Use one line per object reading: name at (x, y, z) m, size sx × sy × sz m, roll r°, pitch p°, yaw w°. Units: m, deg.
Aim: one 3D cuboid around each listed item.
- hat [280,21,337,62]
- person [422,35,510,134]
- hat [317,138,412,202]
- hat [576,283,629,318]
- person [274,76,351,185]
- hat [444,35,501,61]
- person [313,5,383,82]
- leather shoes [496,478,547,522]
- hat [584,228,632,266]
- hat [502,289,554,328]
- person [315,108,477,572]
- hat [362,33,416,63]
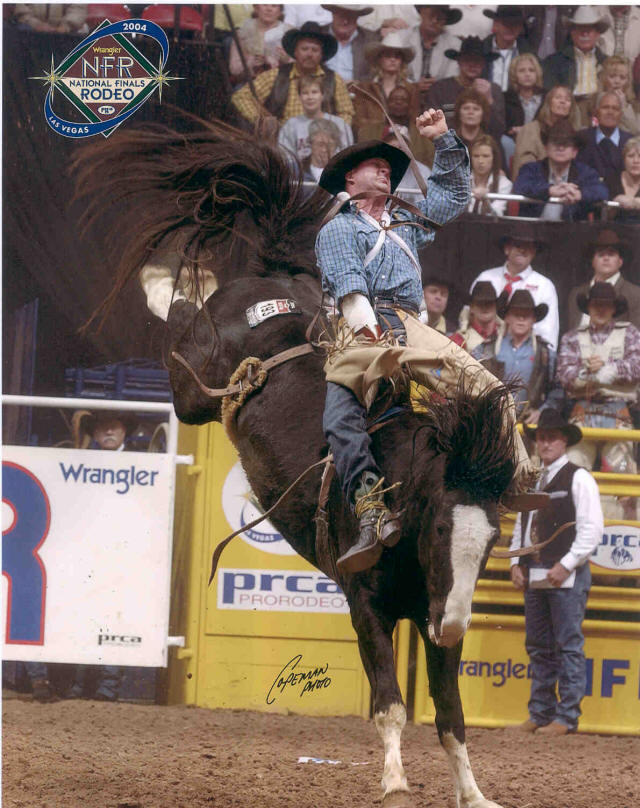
hat at (-0.066, -2.457, 10.793) m, size 0.312 × 0.088 × 0.308 m, roll 6°, pitch 30°, yaw 13°
person at (0.968, -1.975, 10.825) m, size 0.539 × 1.020 × 0.351 m, roll 8°, pitch 16°, yaw 7°
hat at (0.204, -1.280, 8.545) m, size 0.354 × 0.098 × 0.326 m, roll -36°, pitch -39°, yaw 31°
hat at (1.868, -0.691, 10.601) m, size 0.242 × 0.096 × 0.258 m, roll 2°, pitch 33°, yaw -2°
person at (-0.035, -1.743, 10.783) m, size 0.509 × 0.823 × 0.227 m, roll -3°, pitch -10°, yaw 5°
hat at (1.027, -2.366, 10.633) m, size 0.215 × 0.081 × 0.226 m, roll 1°, pitch -6°, yaw 3°
person at (0.191, -2.401, 10.771) m, size 0.539 × 0.718 × 0.254 m, roll 0°, pitch -20°, yaw -2°
leather shoes at (1.015, 0.479, 8.016) m, size 0.209 × 0.075 × 0.159 m, roll -20°, pitch 5°, yaw 23°
hat at (1.913, -1.058, 10.610) m, size 0.206 × 0.098 × 0.261 m, roll 4°, pitch -26°, yaw 6°
hat at (1.358, -0.644, 10.589) m, size 0.229 × 0.096 × 0.250 m, roll 2°, pitch -33°, yaw 4°
person at (0.321, -0.388, 8.286) m, size 0.808 × 2.302 × 1.408 m, roll 3°, pitch 4°, yaw 6°
hat at (0.488, -2.399, 10.756) m, size 0.232 × 0.093 × 0.253 m, roll 4°, pitch -24°, yaw -11°
